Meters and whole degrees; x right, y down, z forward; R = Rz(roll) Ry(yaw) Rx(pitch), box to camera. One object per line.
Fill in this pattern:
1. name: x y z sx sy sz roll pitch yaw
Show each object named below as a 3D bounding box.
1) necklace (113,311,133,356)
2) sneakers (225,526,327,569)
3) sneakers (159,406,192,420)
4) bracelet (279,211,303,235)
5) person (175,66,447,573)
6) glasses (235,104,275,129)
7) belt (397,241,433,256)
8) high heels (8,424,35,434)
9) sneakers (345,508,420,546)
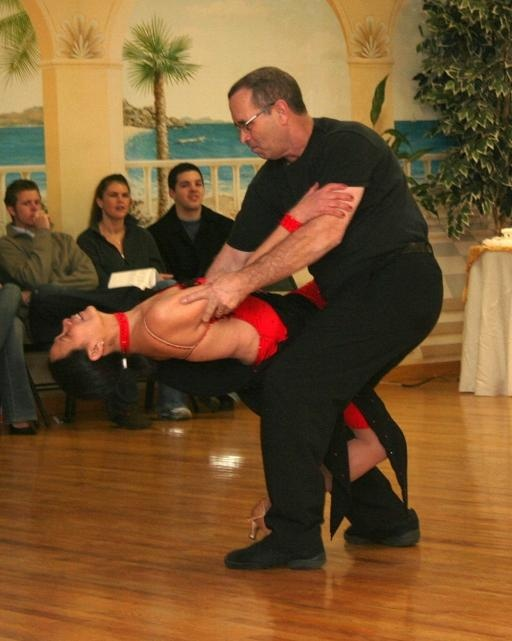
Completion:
1. necklace: -0.301 0.030 1.335 0.031 0.060 0.048 -4 -2 -16
2. sneakers: 0.055 0.531 1.414 0.265 0.100 0.086 2 -6 3
3. sneakers: -0.448 0.514 3.311 0.158 0.048 0.082 -1 1 5
4. bracelet: 0.079 -0.225 1.371 0.050 0.034 0.053 0 1 0
5. person: 0.090 -0.026 1.511 0.812 1.155 0.562 -2 -1 -21
6. glasses: 0.007 -0.462 1.346 0.070 0.020 0.067 -37 14 -18
7. belt: 0.374 -0.164 1.393 0.054 0.011 0.048 1 -4 -17
8. high heels: -1.215 0.571 3.116 0.188 0.059 0.059 -5 -4 21
9. sneakers: 0.349 0.558 1.611 0.252 0.086 0.076 0 -5 12
